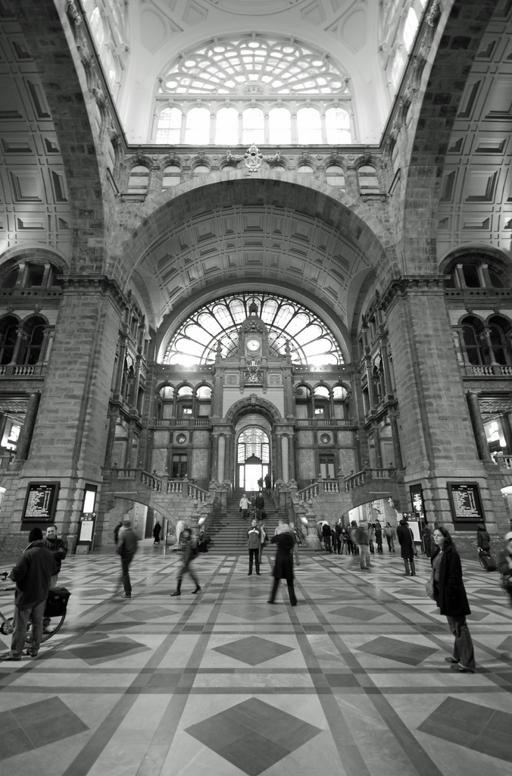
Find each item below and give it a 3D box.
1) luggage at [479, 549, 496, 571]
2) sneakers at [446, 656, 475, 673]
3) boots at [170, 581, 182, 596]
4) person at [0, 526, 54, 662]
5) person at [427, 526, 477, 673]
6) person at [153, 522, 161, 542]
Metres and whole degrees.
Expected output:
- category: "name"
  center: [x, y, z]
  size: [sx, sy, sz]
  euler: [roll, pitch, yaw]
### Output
- category: "luggage"
  center: [5.508, 4.305, 11.489]
  size: [0.302, 0.459, 0.168]
  euler: [3, -32, -19]
- category: "sneakers"
  center: [1.713, 2.437, 4.096]
  size: [0.176, 0.079, 0.332]
  euler: [10, -24, -28]
- category: "boots"
  center: [-1.253, 3.226, 7.477]
  size: [0.140, 0.227, 0.489]
  euler: [1, -21, -9]
- category: "person"
  center: [-2.128, 1.971, 4.510]
  size: [0.349, 1.182, 0.547]
  euler: [6, -17, -24]
- category: "person"
  center: [1.717, 1.894, 4.272]
  size: [0.308, 1.217, 0.544]
  euler: [-7, -17, 22]
- category: "person"
  center: [-4.279, 6.454, 20.639]
  size: [0.242, 0.868, 0.482]
  euler: [5, -17, -22]
